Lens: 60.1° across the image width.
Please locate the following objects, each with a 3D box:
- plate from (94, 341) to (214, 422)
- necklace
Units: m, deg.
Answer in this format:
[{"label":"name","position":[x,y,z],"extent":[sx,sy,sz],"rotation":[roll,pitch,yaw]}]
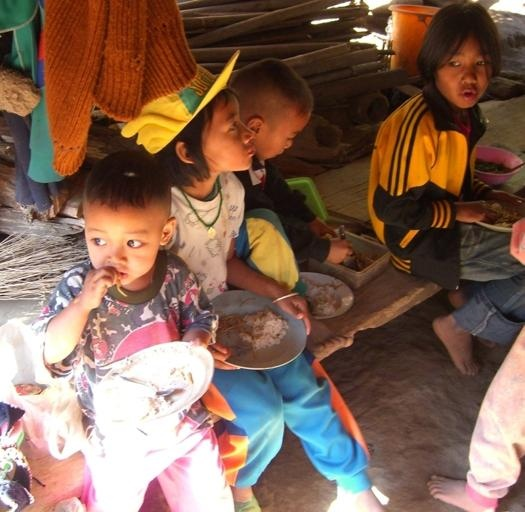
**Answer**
[{"label":"plate","position":[-0.328,0.385,1.390],"extent":[0.355,0.147,0.208],"rotation":[-6,28,-6]},{"label":"necklace","position":[-0.227,-0.182,1.816],"extent":[0.174,0.222,0.066],"rotation":[-39,36,-29]}]
